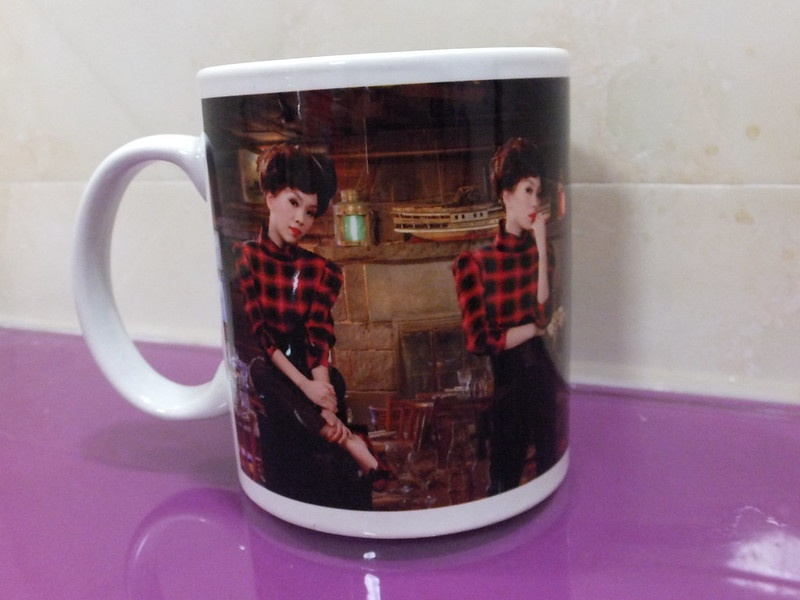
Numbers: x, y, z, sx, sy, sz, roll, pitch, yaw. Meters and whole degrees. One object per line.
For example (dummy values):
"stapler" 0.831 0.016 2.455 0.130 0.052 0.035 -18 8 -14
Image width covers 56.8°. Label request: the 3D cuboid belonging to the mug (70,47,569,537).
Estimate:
"mug" -0.012 -0.008 0.506 0.241 0.303 0.150 1 26 10
